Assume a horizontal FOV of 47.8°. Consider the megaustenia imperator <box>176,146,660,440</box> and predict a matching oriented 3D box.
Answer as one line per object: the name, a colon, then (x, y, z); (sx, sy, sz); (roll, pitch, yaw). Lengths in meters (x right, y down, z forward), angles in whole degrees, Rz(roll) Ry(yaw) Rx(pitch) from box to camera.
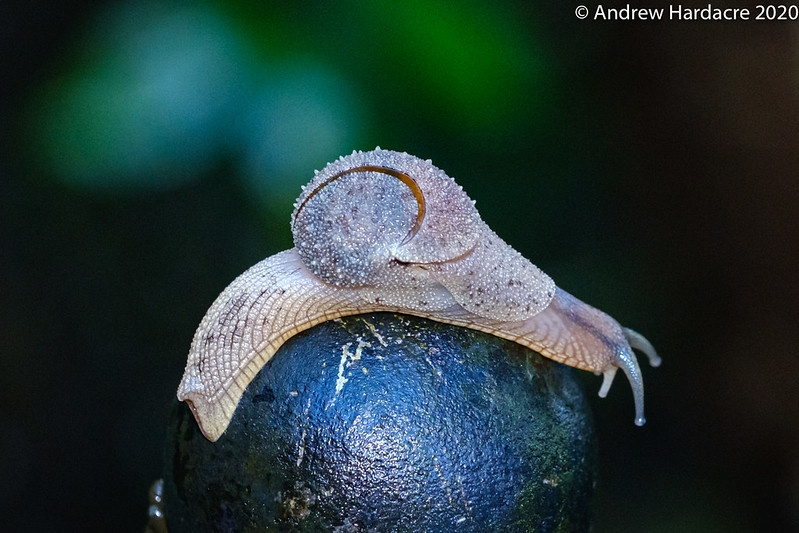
megaustenia imperator: (0.007, 0.126, 3.184); (1.497, 0.988, 0.413); (5, -13, -15)
